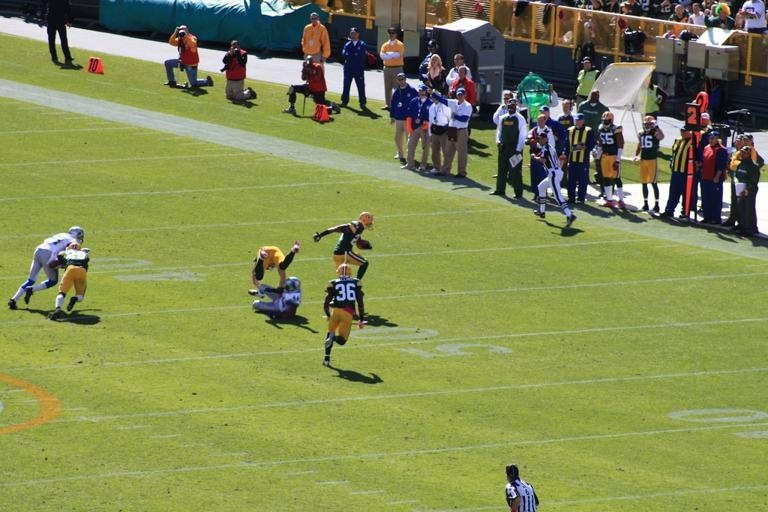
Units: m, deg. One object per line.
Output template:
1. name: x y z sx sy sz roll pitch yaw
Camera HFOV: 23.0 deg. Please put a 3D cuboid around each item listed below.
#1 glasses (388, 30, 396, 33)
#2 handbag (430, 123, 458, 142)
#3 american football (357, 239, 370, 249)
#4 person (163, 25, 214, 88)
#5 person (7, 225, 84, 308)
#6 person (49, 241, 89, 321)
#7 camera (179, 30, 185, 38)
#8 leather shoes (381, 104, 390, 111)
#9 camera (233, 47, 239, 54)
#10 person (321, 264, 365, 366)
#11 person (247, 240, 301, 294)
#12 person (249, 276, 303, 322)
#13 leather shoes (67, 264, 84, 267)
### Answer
1. glasses: 0.186 -6.335 53.133 0.154 0.060 0.202 14 6 11
2. handbag: 1.528 -3.219 49.124 0.424 0.412 0.849 -2 11 -38
3. american football: -0.481 -0.234 41.902 0.230 0.155 0.249 10 11 21
4. person: -5.842 -5.785 55.426 1.196 2.000 1.123 1 7 2
5. person: -7.641 0.343 42.218 0.886 2.093 1.596 35 4 35
6. person: -6.976 0.553 41.402 0.856 1.644 0.785 5 -5 -21
7. camera: -5.949 -6.445 54.836 0.221 0.184 0.066 8 10 19
8. leather shoes: -0.029 -4.316 54.791 0.149 0.177 0.536 3 8 -14
9. camera: -4.291 -5.883 53.900 0.102 0.135 0.200 14 13 43
10. person: -0.849 1.244 40.156 1.006 2.038 0.929 3 -1 -15
11. person: -2.533 0.238 42.275 0.779 0.666 1.662 2 -28 -11
12. person: -2.431 0.920 41.901 1.117 0.984 0.551 11 11 33
13. leather shoes: -6.753 0.224 41.092 0.343 0.066 0.063 3 9 -8
